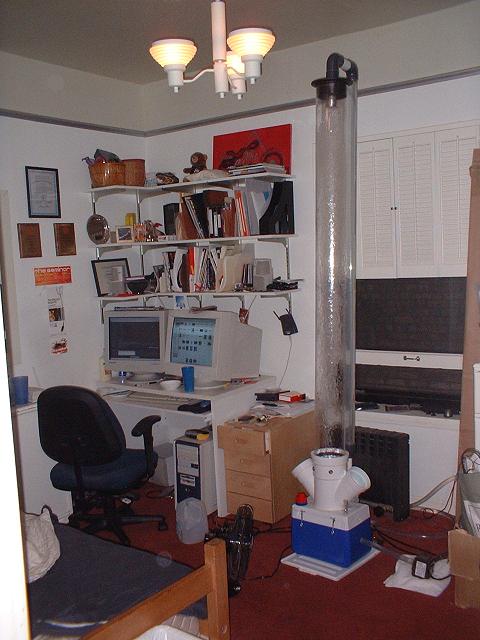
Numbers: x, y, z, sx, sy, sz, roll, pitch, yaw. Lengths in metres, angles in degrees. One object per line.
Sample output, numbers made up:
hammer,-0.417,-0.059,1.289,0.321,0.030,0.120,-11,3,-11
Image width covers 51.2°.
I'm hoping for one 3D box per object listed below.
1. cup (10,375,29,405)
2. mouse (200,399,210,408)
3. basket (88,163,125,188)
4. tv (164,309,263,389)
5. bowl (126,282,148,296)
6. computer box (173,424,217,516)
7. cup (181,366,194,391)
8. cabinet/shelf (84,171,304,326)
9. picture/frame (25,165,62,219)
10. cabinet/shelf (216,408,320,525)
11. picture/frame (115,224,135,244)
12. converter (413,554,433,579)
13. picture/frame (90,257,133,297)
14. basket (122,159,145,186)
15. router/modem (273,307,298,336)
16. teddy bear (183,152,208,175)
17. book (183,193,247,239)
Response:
cup,-1.353,0.436,3.060,0.100,0.174,0.163,-5,8,-22
mouse,-0.220,0.523,3.117,0.053,0.024,0.091,-1,3,-2
basket,-0.969,-1.019,3.590,0.194,0.131,0.203,6,14,25
tv,-0.177,0.173,3.494,0.491,0.540,0.502,0,1,36
bowl,-0.778,-0.225,3.778,0.107,0.087,0.111,-2,2,0
computer box,-0.285,0.995,3.258,0.262,0.482,0.281,-1,0,32
cup,-0.332,0.370,3.217,0.079,0.159,0.218,-3,7,-6
cabinet/shelf,-0.300,-0.496,3.702,1.536,1.020,0.688,0,7,22
picture/frame,-1.359,-0.872,3.414,0.026,0.422,0.333,3,11,27
cabinet/shelf,0.173,0.844,3.332,0.455,0.811,0.798,3,9,31
picture/frame,-0.865,-0.634,3.747,0.143,0.153,0.012,4,-4,-35
converter,0.848,1.155,2.333,0.099,0.111,0.083,1,-3,33
picture/frame,-0.993,-0.315,3.799,0.020,0.198,0.272,-2,14,25
basket,-0.792,-1.089,3.741,0.188,0.216,0.186,-14,21,-43
router/modem,0.324,0.037,3.488,0.096,0.176,0.181,-7,-5,-12
teddy bear,-0.319,-1.118,3.622,0.170,0.187,0.472,-3,7,-3
book,-0.173,-0.670,3.412,0.406,0.145,0.304,3,5,40
